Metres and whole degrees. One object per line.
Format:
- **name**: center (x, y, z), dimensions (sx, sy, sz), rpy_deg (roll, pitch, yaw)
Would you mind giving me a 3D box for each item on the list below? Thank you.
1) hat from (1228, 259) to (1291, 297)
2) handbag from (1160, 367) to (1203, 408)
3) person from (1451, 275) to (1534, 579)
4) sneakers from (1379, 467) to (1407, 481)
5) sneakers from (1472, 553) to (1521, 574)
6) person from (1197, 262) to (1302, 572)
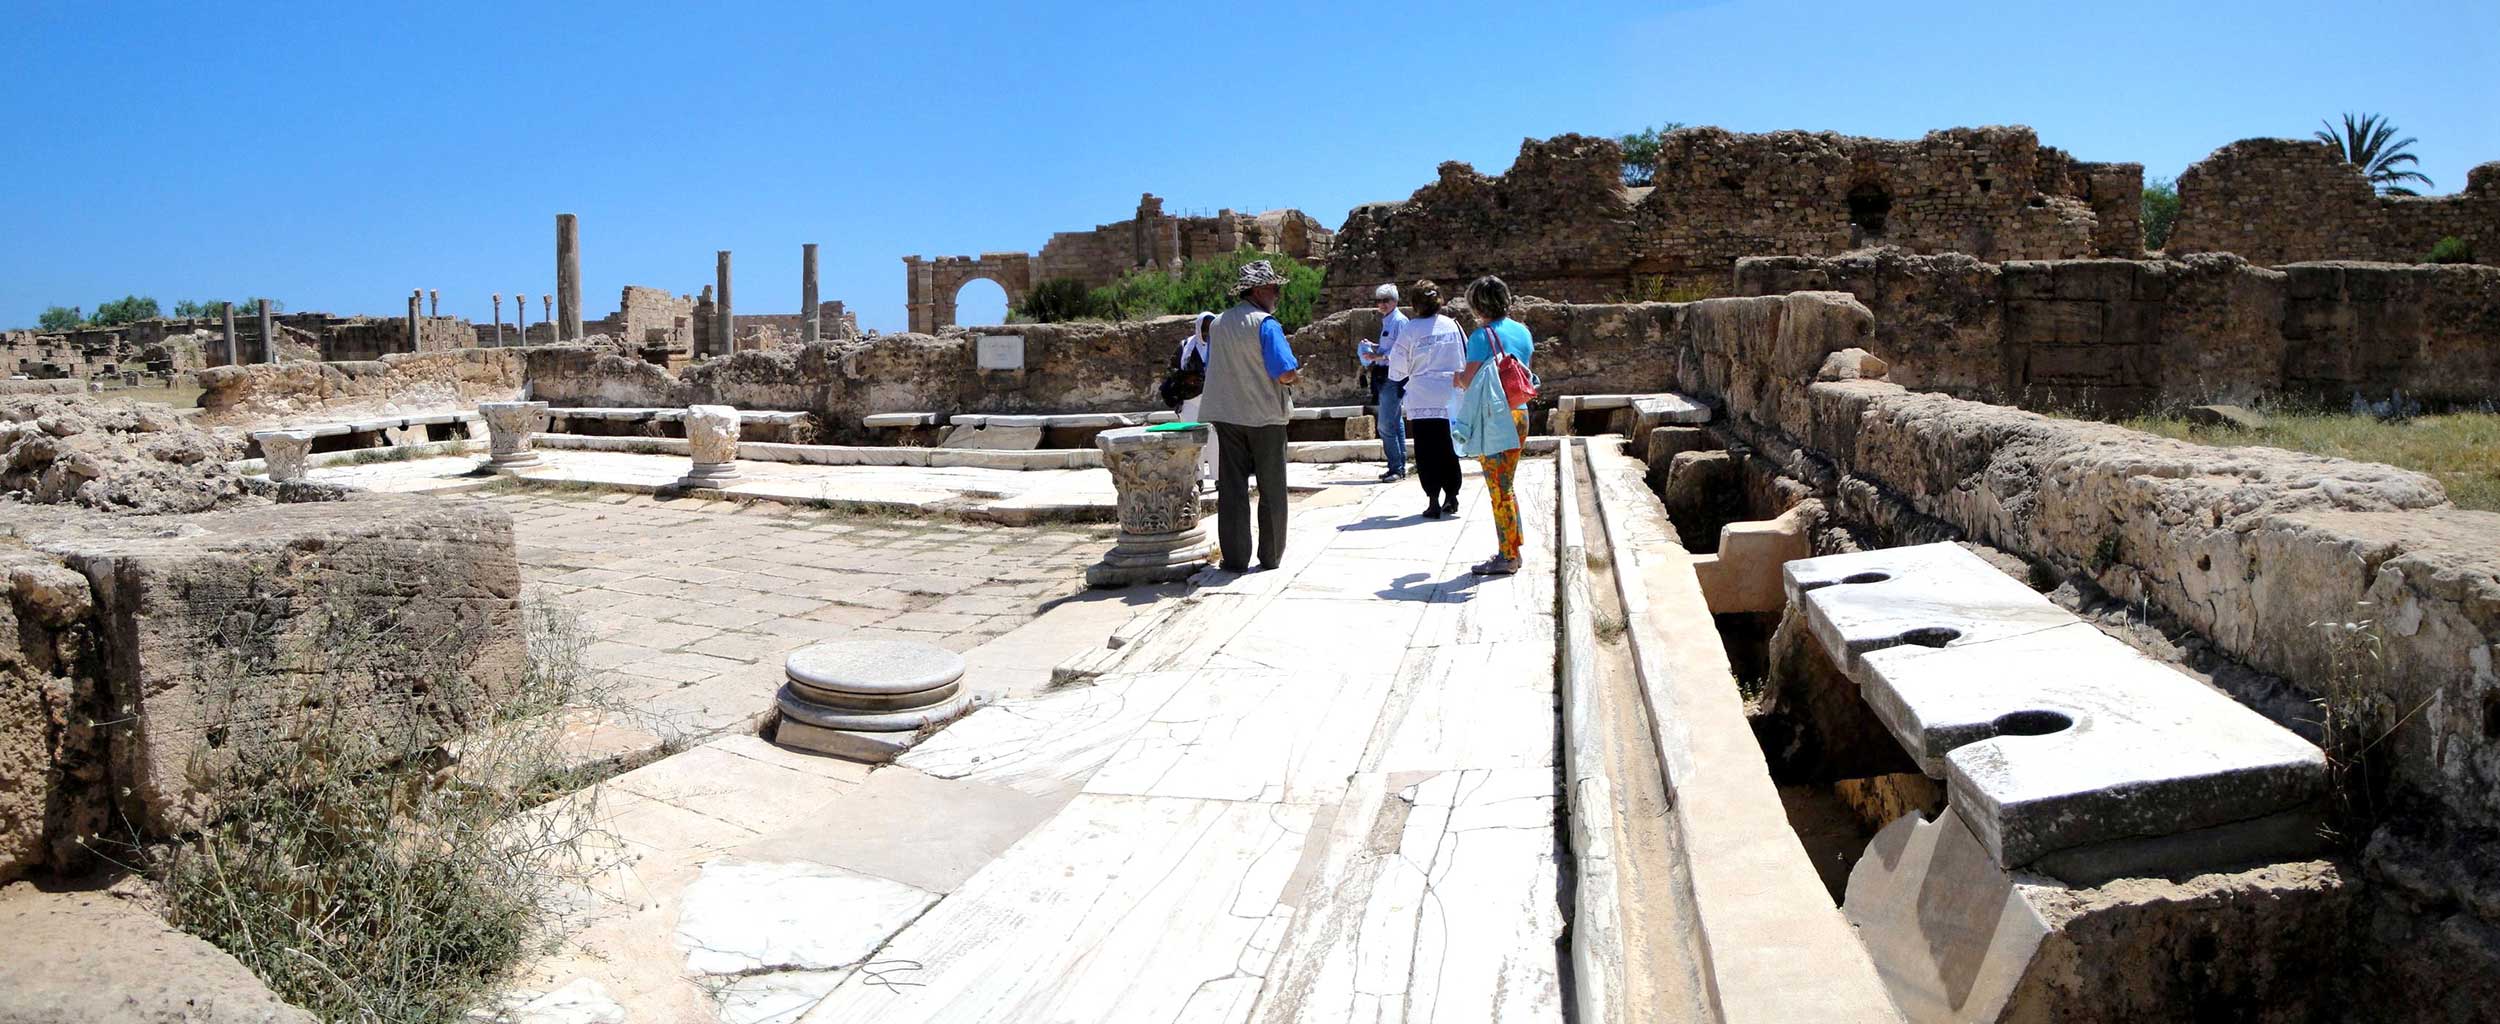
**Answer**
- **hat**: center (-0.109, -1.948, 11.504), dimensions (0.592, 0.202, 0.574), rpy_deg (-2, 4, 37)
- **handbag**: center (-0.650, -1.118, 12.338), dimensions (0.462, 0.356, 0.306), rpy_deg (-14, 15, -7)
- **person**: center (1.993, -0.721, 11.261), dimensions (0.625, 2.356, 1.041), rpy_deg (-3, 11, 11)
- **sneakers**: center (1.512, -0.379, 14.718), dimensions (0.260, 0.091, 0.129), rpy_deg (0, 3, -30)
- **sneakers**: center (1.973, 0.440, 11.090), dimensions (0.456, 0.134, 0.138), rpy_deg (0, 7, -1)
- **person**: center (-0.021, -0.787, 11.518), dimensions (0.807, 2.570, 0.616), rpy_deg (-5, 11, -1)
